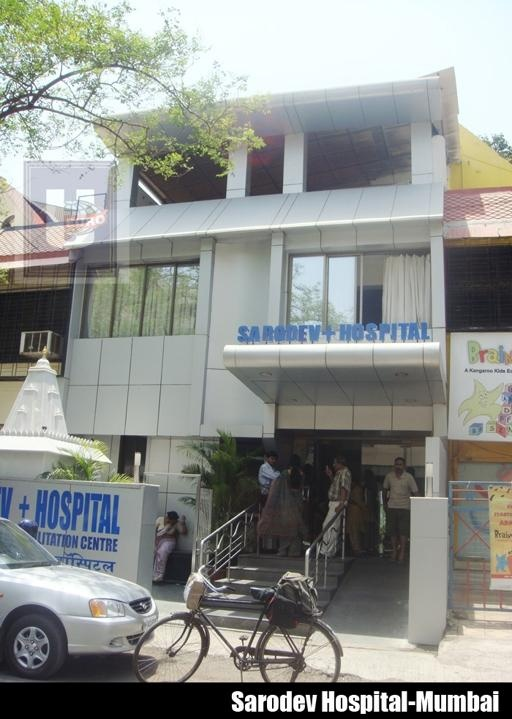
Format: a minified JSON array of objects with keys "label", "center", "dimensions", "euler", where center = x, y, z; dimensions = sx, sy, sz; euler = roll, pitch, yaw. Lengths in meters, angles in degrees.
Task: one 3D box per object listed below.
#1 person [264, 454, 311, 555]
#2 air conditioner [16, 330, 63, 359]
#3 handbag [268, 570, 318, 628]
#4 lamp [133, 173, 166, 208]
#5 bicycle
[{"label":"person","center":[0.528,2.697,11.195],"dimensions":[0.809,1.830,1.494],"euler":[1,-9,5]},{"label":"air conditioner","center":[-5.832,-0.474,16.143],"dimensions":[1.187,0.870,0.665],"euler":[-4,-11,32]},{"label":"handbag","center":[0.298,1.977,5.026],"dimensions":[0.421,0.385,0.396],"euler":[-1,-6,14]},{"label":"lamp","center":[-3.646,-5.510,20.359],"dimensions":[0.407,0.921,1.895],"euler":[0,-9,11]},{"label":"bicycle","center":[-0.014,2.403,5.389],"dimensions":[2.150,1.213,0.808],"euler":[1,-19,9]}]
